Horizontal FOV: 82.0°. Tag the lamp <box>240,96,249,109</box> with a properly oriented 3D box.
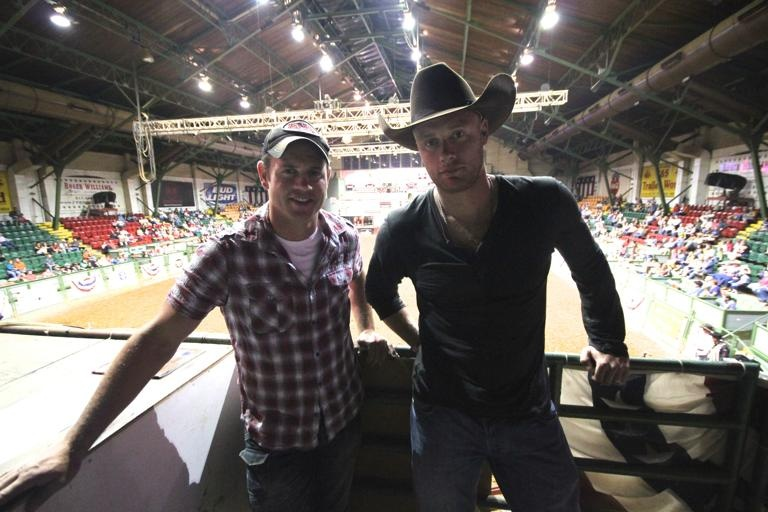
[{"bbox_3d":[-6.072,-6.983,20.192,0.383,0.563,0.559,4,12,7],"label":"lamp"}]

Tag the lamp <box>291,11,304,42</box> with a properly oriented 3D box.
[{"bbox_3d":[-2.854,-7.980,15.406,0.329,0.872,0.774,-2,8,-11],"label":"lamp"}]

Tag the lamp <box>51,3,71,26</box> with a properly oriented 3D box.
[{"bbox_3d":[-8.319,-6.402,11.780,0.405,0.426,0.711,-5,10,-33],"label":"lamp"}]
